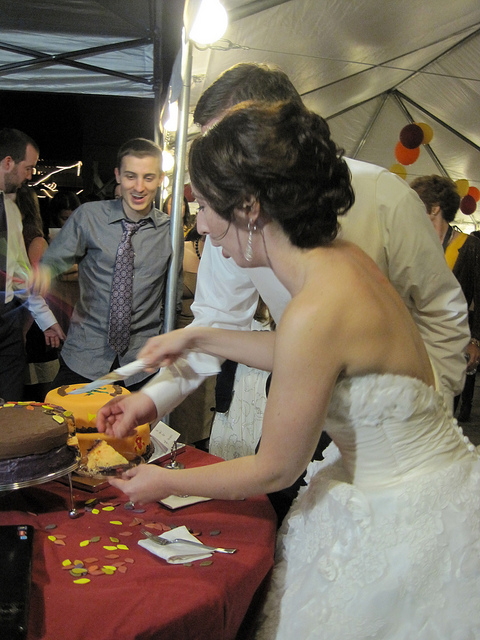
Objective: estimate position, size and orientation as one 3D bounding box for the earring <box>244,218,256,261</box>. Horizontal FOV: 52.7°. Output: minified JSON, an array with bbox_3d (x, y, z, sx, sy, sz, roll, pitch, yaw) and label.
[{"bbox_3d":[0.019,-0.153,0.921,0.016,0.093,0.046,10,24,4],"label":"earring"}]

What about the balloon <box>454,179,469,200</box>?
[{"bbox_3d":[2.914,-1.722,6.374,0.163,0.243,0.789,18,25,20],"label":"balloon"}]

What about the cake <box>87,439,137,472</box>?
[{"bbox_3d":[-0.341,0.365,1.278,0.104,0.026,0.080,15,8,-8],"label":"cake"}]

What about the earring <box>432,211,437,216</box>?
[{"bbox_3d":[1.473,-0.812,3.676,0.033,0.031,0.011,1,25,-18],"label":"earring"}]

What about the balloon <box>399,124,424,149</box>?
[{"bbox_3d":[1.969,-2.114,5.557,0.260,0.269,0.214,14,24,12],"label":"balloon"}]

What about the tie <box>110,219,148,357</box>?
[{"bbox_3d":[-0.633,-0.227,2.730,0.194,0.619,0.044,16,-21,-29],"label":"tie"}]

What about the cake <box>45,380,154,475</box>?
[{"bbox_3d":[-0.470,0.331,1.478,0.365,0.187,0.360,-1,-3,-16],"label":"cake"}]
